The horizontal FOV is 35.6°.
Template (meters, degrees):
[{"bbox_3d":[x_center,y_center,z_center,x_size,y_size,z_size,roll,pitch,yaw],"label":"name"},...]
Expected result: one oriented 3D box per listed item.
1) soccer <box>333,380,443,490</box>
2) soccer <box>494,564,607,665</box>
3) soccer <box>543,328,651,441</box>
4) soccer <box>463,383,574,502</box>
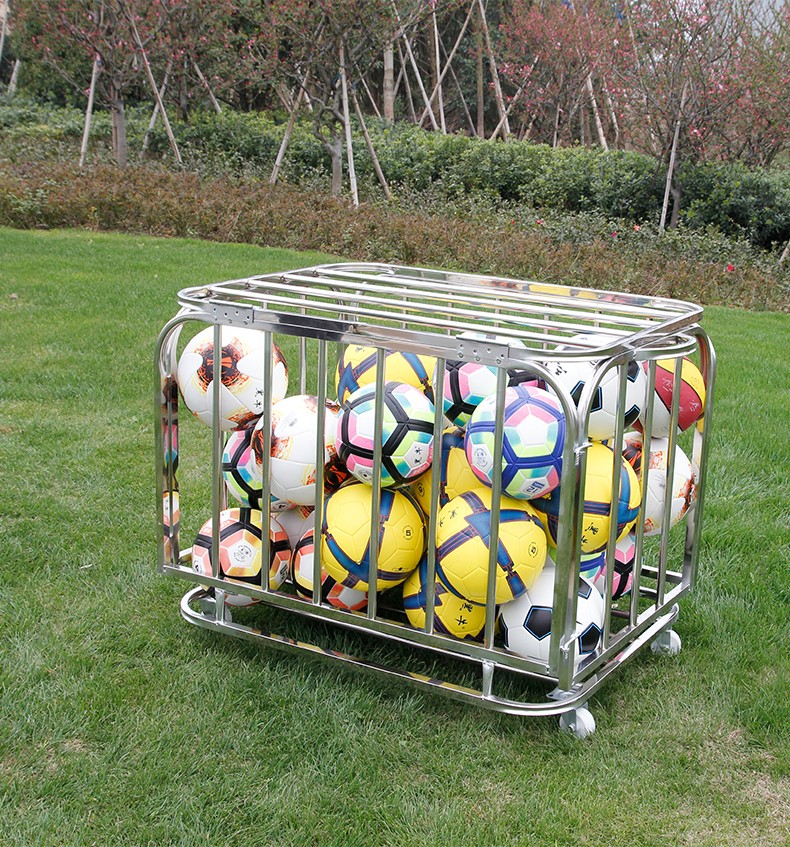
[{"bbox_3d":[-0.030,0.054,4.731,0.328,0.437,0.358,-2,-3,-6],"label":"soccer"},{"bbox_3d":[0.617,0.739,4.772,0.501,0.325,0.311,-7,15,-38],"label":"soccer"},{"bbox_3d":[0.794,-0.120,4.759,0.334,0.532,0.400,-1,17,6],"label":"soccer"},{"bbox_3d":[0.461,0.033,4.702,0.402,0.526,0.443,4,0,-29],"label":"soccer"}]
